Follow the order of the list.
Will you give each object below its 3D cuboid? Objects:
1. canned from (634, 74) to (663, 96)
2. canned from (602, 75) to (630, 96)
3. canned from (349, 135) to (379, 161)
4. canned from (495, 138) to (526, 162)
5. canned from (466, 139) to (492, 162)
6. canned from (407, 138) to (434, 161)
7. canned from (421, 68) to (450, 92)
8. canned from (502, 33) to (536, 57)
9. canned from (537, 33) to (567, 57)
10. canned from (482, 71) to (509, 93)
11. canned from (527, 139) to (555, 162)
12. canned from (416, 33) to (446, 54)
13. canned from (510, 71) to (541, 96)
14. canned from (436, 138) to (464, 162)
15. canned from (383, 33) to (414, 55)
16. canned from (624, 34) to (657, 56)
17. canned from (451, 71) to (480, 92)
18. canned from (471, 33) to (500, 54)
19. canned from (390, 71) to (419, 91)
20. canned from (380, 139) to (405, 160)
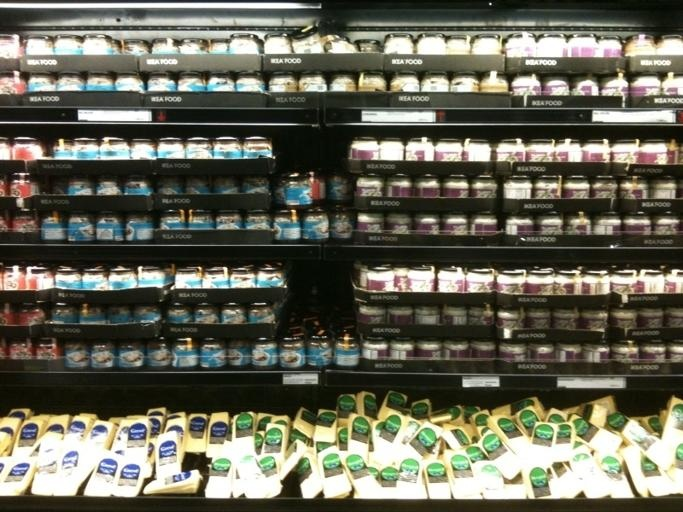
[{"bbox_3d":[1.587,-0.892,3.735,0.182,0.151,0.099,3,-83,24],"label":"canned"},{"bbox_3d":[1.432,-0.895,3.742,0.152,0.104,0.106,-3,-50,6],"label":"canned"},{"bbox_3d":[0.122,-0.566,3.771,0.191,0.143,0.100,1,-82,8],"label":"canned"},{"bbox_3d":[0.885,-0.556,3.769,0.197,0.147,0.104,1,-90,6],"label":"canned"},{"bbox_3d":[0.716,-0.553,3.759,0.175,0.142,0.102,3,-79,22],"label":"canned"},{"bbox_3d":[0.416,-0.573,3.822,0.201,0.148,0.104,0,-83,5],"label":"canned"},{"bbox_3d":[0.491,-0.916,3.714,0.183,0.135,0.092,0,-82,2],"label":"canned"},{"bbox_3d":[0.937,-1.110,3.748,0.239,0.135,0.128,-1,-79,12],"label":"canned"},{"bbox_3d":[1.092,-1.095,3.756,0.209,0.160,0.109,2,-85,7],"label":"canned"},{"bbox_3d":[0.778,-0.920,3.796,0.186,0.141,0.094,-2,-80,-14],"label":"canned"},{"bbox_3d":[1.021,-0.558,3.790,0.200,0.138,0.105,0,-90,3],"label":"canned"},{"bbox_3d":[0.470,-1.118,3.774,0.182,0.139,0.067,1,-80,4],"label":"canned"},{"bbox_3d":[0.965,-0.892,3.739,0.199,0.152,0.102,0,-88,-16],"label":"canned"},{"bbox_3d":[0.563,-0.552,3.754,0.190,0.140,0.099,1,-78,7],"label":"canned"},{"bbox_3d":[0.305,-1.127,3.790,0.206,0.155,0.083,-3,-77,-14],"label":"canned"},{"bbox_3d":[1.577,-1.118,3.773,0.159,0.118,0.102,-7,-51,9],"label":"canned"},{"bbox_3d":[0.645,-0.915,3.750,0.170,0.124,0.085,1,-80,0],"label":"canned"},{"bbox_3d":[0.762,-1.120,3.780,0.155,0.093,0.093,-3,-50,6],"label":"canned"},{"bbox_3d":[0.326,-0.927,3.780,0.165,0.121,0.087,-2,-79,-8],"label":"canned"},{"bbox_3d":[0.260,-0.567,3.757,0.173,0.127,0.088,1,-81,2],"label":"canned"}]
